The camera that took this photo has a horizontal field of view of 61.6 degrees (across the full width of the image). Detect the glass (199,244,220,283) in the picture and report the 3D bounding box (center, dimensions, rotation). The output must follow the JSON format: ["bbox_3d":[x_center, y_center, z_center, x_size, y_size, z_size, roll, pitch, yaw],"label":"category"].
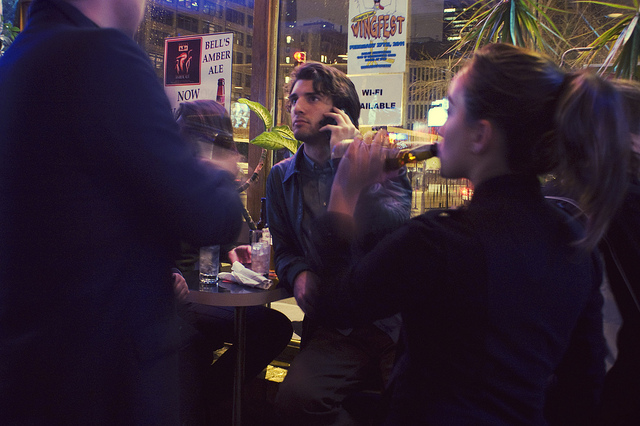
[{"bbox_3d":[-0.482,0.215,2.313,0.088,0.159,0.104,-3,7,-14],"label":"glass"}]

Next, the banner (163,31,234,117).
[{"bbox_3d":[-0.836,-0.960,3.660,0.549,0.501,0.110,2,8,23],"label":"banner"}]

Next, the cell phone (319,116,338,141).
[{"bbox_3d":[0.035,-0.393,2.497,0.073,0.102,0.036,1,1,-14],"label":"cell phone"}]

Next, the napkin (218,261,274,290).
[{"bbox_3d":[-0.319,0.272,2.306,0.138,0.047,0.122,13,11,25],"label":"napkin"}]

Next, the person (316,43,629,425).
[{"bbox_3d":[0.421,0.073,1.564,0.796,1.082,0.319,-1,7,3],"label":"person"}]

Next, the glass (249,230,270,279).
[{"bbox_3d":[-0.269,0.195,2.460,0.106,0.218,0.104,-4,8,-36],"label":"glass"}]
